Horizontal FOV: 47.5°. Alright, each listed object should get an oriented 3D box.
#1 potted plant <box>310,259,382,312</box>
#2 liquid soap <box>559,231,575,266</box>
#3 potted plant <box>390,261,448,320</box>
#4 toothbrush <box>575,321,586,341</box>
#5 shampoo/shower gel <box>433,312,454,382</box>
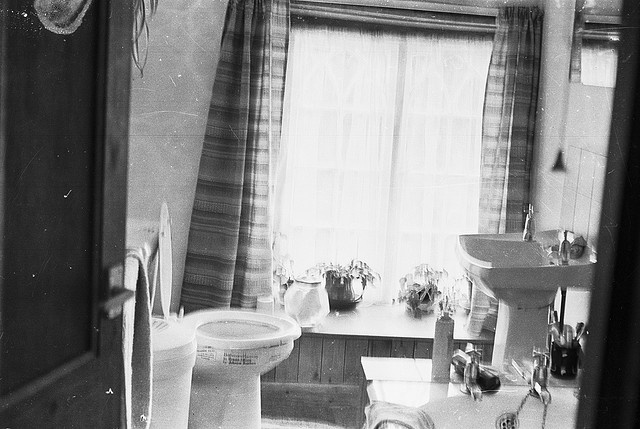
[{"bbox_3d":[0.038,0.105,1.144,0.082,0.060,0.089,-23,18,-35],"label":"potted plant"},{"bbox_3d":[0.387,0.053,1.148,0.023,0.051,0.009,5,3,-10],"label":"liquid soap"},{"bbox_3d":[0.159,0.115,1.134,0.066,0.029,0.080,0,26,19],"label":"potted plant"},{"bbox_3d":[0.412,0.185,1.152,0.021,0.023,0.005,4,1,34],"label":"toothbrush"},{"bbox_3d":[0.196,0.215,1.163,0.032,0.097,0.033,6,3,10],"label":"shampoo/shower gel"}]
